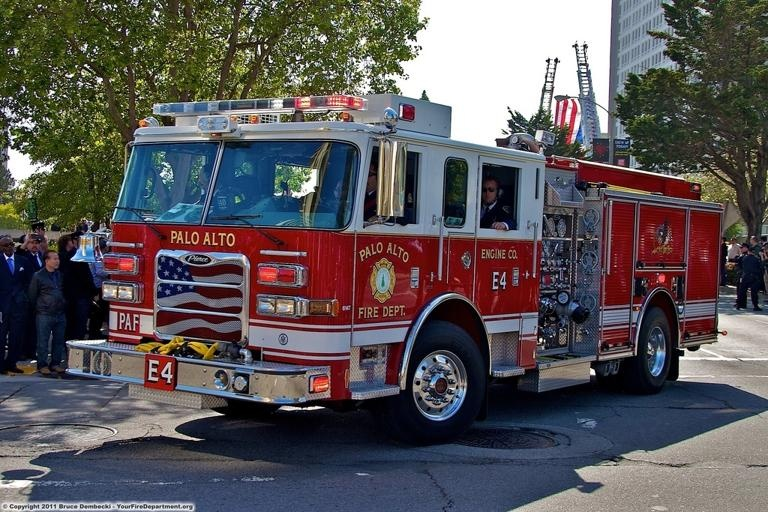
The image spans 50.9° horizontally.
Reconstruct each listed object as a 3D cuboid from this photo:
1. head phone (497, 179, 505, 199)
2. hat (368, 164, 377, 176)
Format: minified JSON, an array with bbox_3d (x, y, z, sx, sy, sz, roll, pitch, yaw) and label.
[{"bbox_3d":[1.582,-0.886,10.908,0.075,0.192,0.142,-14,11,-8],"label":"head phone"},{"bbox_3d":[-0.126,-1.002,9.450,0.027,0.106,0.115,2,12,19],"label":"hat"}]
